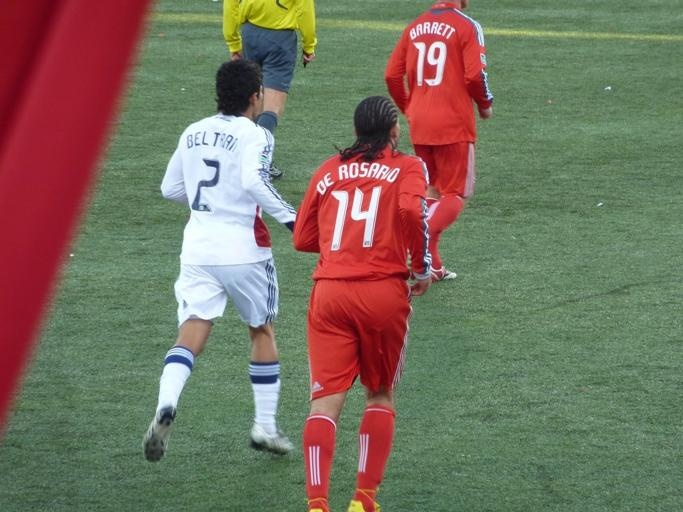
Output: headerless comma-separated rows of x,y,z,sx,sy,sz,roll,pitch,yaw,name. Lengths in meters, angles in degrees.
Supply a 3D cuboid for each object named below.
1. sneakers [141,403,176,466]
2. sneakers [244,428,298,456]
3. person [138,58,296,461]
-1.260,1.247,7.905,0.192,0.459,0.209,5,23,-6,sneakers
-0.529,1.351,8.408,0.305,0.142,0.166,11,21,-3,sneakers
-0.950,-0.189,8.178,1.183,2.078,1.070,-11,30,-38,person
